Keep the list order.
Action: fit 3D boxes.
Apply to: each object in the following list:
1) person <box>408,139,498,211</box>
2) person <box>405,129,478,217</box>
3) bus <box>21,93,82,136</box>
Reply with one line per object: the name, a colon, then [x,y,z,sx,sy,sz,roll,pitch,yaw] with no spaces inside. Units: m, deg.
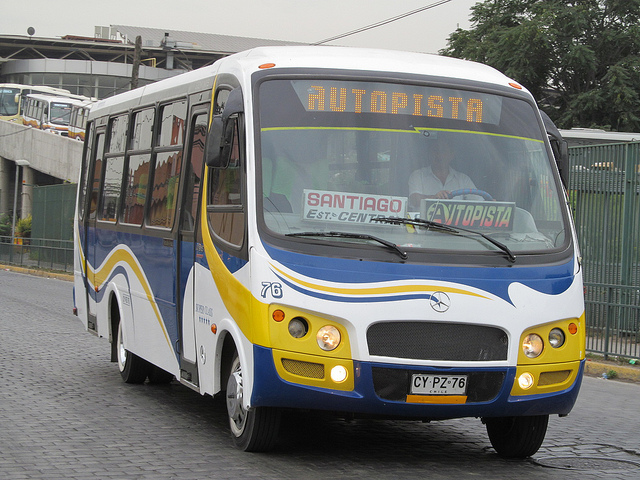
person: [1.088,-0.523,4.860,0.474,0.774,0.387,2,-15,-27]
person: [1.012,-0.391,4.795,0.557,1.076,0.516,2,-16,2]
bus: [-27.055,-11.822,58.191,3.452,5.168,9.983,3,11,-24]
